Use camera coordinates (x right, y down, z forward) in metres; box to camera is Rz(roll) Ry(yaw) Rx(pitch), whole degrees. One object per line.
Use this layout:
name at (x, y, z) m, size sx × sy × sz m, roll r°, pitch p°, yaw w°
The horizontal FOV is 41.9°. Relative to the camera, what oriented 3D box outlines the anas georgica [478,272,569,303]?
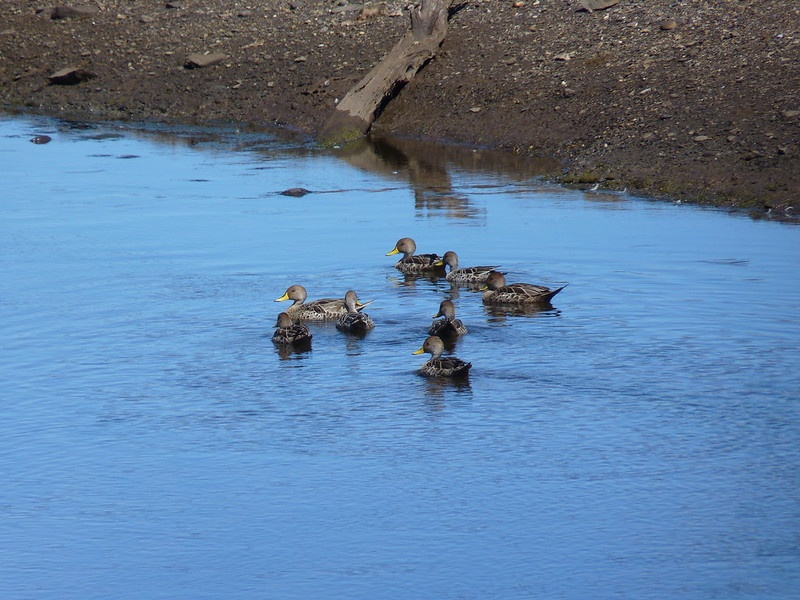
anas georgica at (2.219, -0.141, 17.571) m, size 1.721 × 0.504 × 0.388 m, roll 1°, pitch 91°, yaw 24°
